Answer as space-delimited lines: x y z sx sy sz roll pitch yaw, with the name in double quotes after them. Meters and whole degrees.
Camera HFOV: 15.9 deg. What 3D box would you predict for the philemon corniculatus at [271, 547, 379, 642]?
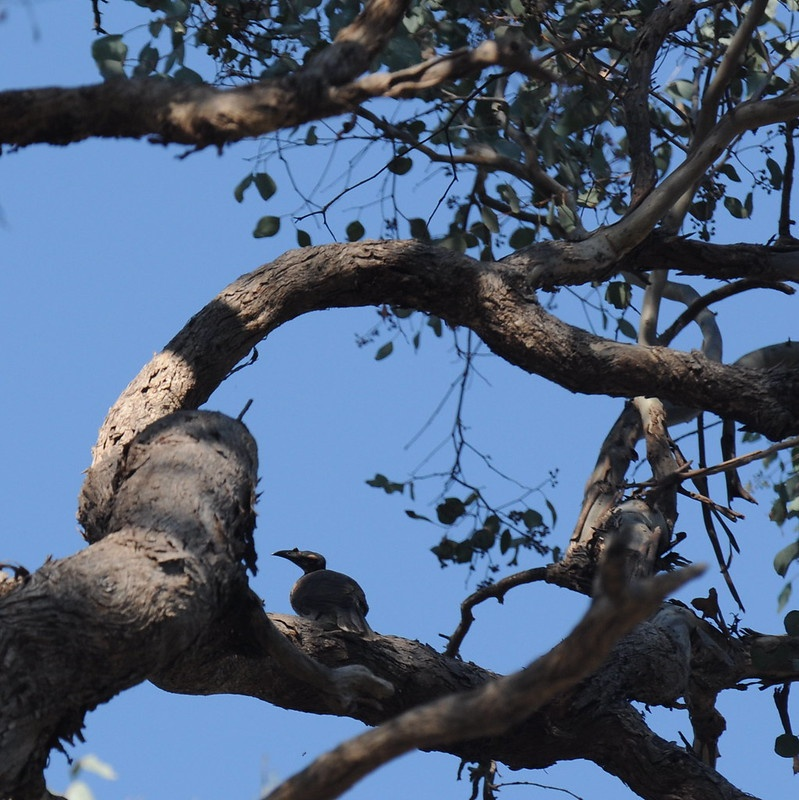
-0.327 0.826 12.276 0.485 0.385 0.236 1 -18 26 "philemon corniculatus"
